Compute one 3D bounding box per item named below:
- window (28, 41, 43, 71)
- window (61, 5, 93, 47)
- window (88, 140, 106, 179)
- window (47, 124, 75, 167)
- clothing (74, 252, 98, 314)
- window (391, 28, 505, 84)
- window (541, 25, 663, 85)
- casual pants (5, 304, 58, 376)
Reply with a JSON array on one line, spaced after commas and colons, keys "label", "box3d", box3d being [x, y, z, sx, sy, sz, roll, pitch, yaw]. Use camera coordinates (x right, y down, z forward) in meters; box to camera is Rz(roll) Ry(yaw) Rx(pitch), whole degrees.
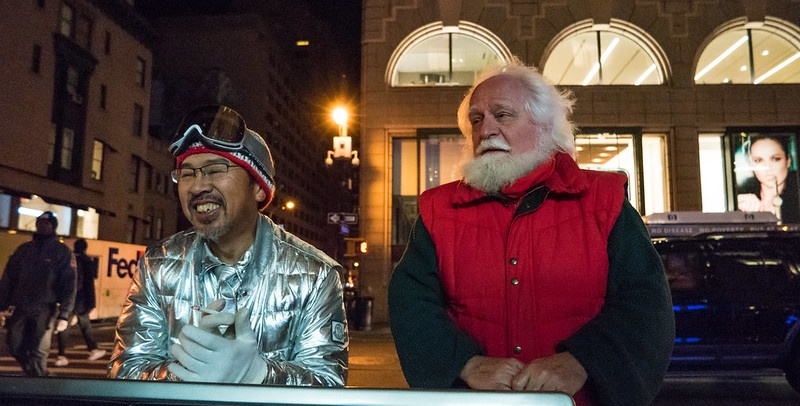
[{"label": "window", "box3d": [-18.552, -7.410, 36.997, 0.524, 1.515, 0.168, 8, -13, -44]}, {"label": "window", "box3d": [-17.365, -9.489, 38.866, 0.263, 2.481, 2.246, -25, -28, 25]}, {"label": "window", "box3d": [-16.376, -2.380, 39.281, 0.775, 2.359, 0.157, 19, 25, 8]}, {"label": "window", "box3d": [-17.775, -2.982, 37.861, 0.241, 2.343, 1.935, -1, -13, 25]}, {"label": "clothing", "box3d": [-12.830, 3.298, 29.593, 0.792, 2.454, 0.602, 3, -10, -24]}, {"label": "window", "box3d": [2.669, -8.128, 40.225, 8.135, 3.338, 0.279, -11, 20, -32]}, {"label": "window", "box3d": [10.826, -8.014, 39.149, 6.099, 2.879, 0.244, 1, 3, 1]}, {"label": "casual pants", "box3d": [-14.133, 5.272, 27.752, 1.560, 2.491, 0.510, 4, -10, -28]}]
